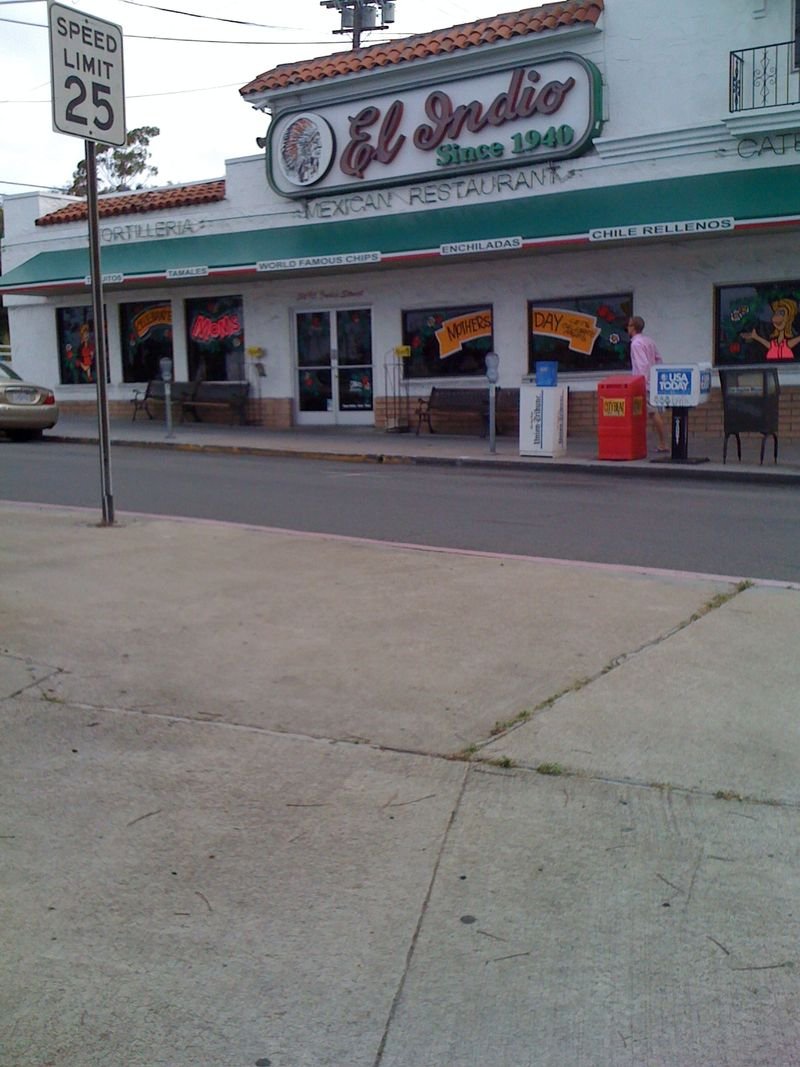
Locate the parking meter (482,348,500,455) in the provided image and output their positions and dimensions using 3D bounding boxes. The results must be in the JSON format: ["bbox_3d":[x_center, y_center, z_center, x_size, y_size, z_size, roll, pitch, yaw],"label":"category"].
[{"bbox_3d":[1.479,-2.025,15.221,0.275,1.691,0.313,0,5,0],"label":"parking meter"}]

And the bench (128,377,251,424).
[{"bbox_3d":[-4.778,-3.283,23.205,3.952,1.104,1.259,-1,4,29],"label":"bench"}]

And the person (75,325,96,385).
[{"bbox_3d":[-8.582,-4.877,25.964,0.208,1.566,0.701,-7,12,-44],"label":"person"}]

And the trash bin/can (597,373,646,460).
[{"bbox_3d":[3.352,-1.705,14.261,0.725,1.253,0.522,1,8,1],"label":"trash bin/can"}]

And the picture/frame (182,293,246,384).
[{"bbox_3d":[-4.557,-4.855,23.502,2.097,2.786,0.240,6,12,31],"label":"picture/frame"}]

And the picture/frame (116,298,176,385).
[{"bbox_3d":[-6.638,-4.904,24.677,1.867,2.077,0.362,7,11,38],"label":"picture/frame"}]

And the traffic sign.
[{"bbox_3d":[-2.448,-3.603,7.564,0.282,1.015,0.873,4,9,25],"label":"traffic sign"}]
